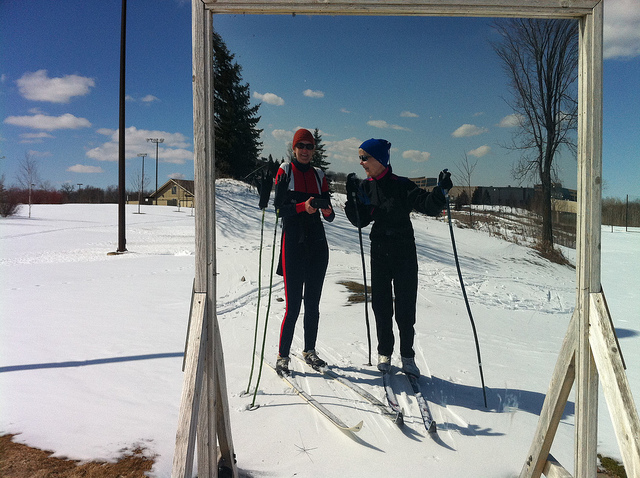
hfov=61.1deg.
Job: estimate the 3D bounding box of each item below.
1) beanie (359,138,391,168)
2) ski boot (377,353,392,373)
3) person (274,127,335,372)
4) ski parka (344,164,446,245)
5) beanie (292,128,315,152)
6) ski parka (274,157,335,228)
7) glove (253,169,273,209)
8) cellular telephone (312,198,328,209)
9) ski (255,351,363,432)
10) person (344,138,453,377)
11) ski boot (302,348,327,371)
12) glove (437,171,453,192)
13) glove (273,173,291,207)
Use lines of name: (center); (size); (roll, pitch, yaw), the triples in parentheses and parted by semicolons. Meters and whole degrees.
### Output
beanie: (0.647, -1.015, 6.321); (0.350, 0.361, 0.307); (1, 4, 31)
ski boot: (0.758, 1.456, 6.388); (0.143, 0.200, 0.434); (1, -14, 1)
person: (-0.209, 0.163, 6.322); (0.615, 2.849, 0.433); (0, 9, -2)
ski parka: (0.833, -0.365, 6.344); (1.406, 0.989, 0.415); (2, 10, 37)
beanie: (-0.184, -1.159, 6.242); (0.247, 0.219, 0.197); (0, 10, -3)
ski parka: (-0.168, -0.493, 6.408); (0.781, 0.899, 0.556); (3, -24, -24)
glove: (-0.579, -0.517, 5.632); (0.216, 0.408, 0.223); (2, 10, 12)
cellular telephone: (0.005, -0.405, 6.167); (0.234, 0.125, 0.078); (-7, 12, -36)
ski: (-0.135, 1.772, 6.186); (0.146, 0.188, 1.431); (1, 26, -41)
person: (0.840, 0.225, 6.284); (1.204, 2.716, 0.479); (3, 10, 16)
ski boot: (-0.061, 1.459, 6.586); (0.140, 0.184, 0.374); (-8, 13, -38)
glove: (1.328, -0.619, 5.782); (0.138, 0.191, 0.193); (1, 10, 7)
glove: (-0.426, -0.566, 6.209); (0.184, 0.371, 0.134); (0, 9, -2)
